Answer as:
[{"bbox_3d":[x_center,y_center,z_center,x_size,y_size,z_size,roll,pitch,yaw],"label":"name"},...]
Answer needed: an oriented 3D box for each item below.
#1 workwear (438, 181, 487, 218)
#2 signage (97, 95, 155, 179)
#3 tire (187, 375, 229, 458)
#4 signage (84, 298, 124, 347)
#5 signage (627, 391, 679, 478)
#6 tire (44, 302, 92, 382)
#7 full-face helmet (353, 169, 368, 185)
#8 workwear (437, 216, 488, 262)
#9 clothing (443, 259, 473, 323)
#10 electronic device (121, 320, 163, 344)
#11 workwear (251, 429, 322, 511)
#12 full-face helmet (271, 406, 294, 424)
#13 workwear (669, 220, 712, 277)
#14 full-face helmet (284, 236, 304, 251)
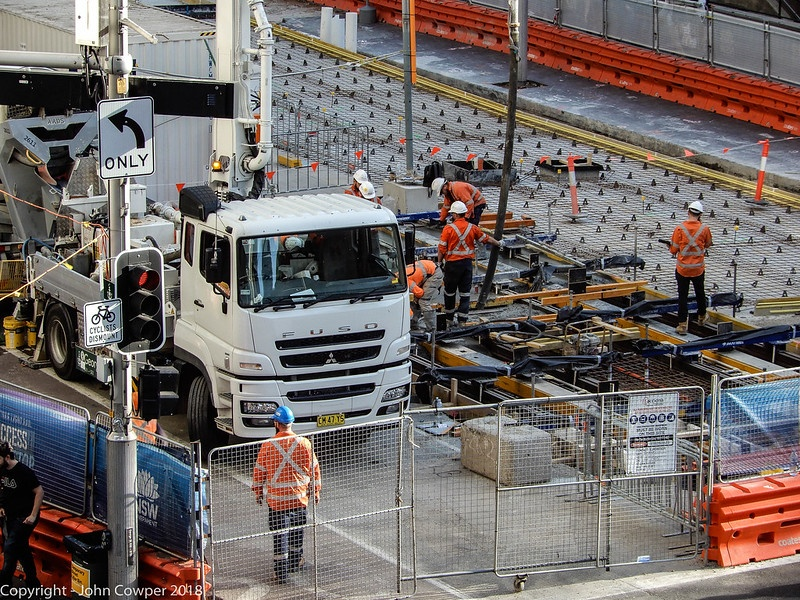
[{"bbox_3d":[1.132,-1.729,32.934,0.885,0.561,0.651,-11,5,-29],"label":"workwear"},{"bbox_3d":[-3.365,-2.000,23.868,0.885,0.974,0.016,0,1,29],"label":"signage"},{"bbox_3d":[-2.644,1.627,26.943,0.465,1.165,1.300,0,2,10],"label":"tire"},{"bbox_3d":[-3.600,0.279,23.686,0.713,0.609,0.071,-2,2,-32],"label":"signage"},{"bbox_3d":[3.284,1.742,25.164,0.816,1.153,0.107,3,11,-18],"label":"signage"},{"bbox_3d":[-4.972,0.615,29.196,0.474,1.224,1.264,-5,11,-37],"label":"tire"},{"bbox_3d":[-0.680,-2.082,32.473,0.260,0.121,0.320,2,18,-25],"label":"full-face helmet"},{"bbox_3d":[0.921,-1.005,31.230,0.911,0.640,0.432,-8,17,-36],"label":"workwear"},{"bbox_3d":[0.921,-0.190,31.066,0.480,0.980,0.584,7,10,1],"label":"clothing"},{"bbox_3d":[-3.172,0.388,23.857,0.411,0.231,0.417,-7,7,-44],"label":"electronic device"},{"bbox_3d":[-1.392,2.143,24.024,1.239,1.099,0.628,0,3,-12],"label":"workwear"},{"bbox_3d":[-1.475,1.488,24.602,0.244,0.136,0.288,2,11,-25],"label":"full-face helmet"},{"bbox_3d":[4.632,-0.835,30.859,0.619,0.906,0.327,8,10,6],"label":"workwear"},{"bbox_3d":[-1.454,-0.782,26.817,0.287,0.203,0.075,1,12,-25],"label":"full-face helmet"}]
